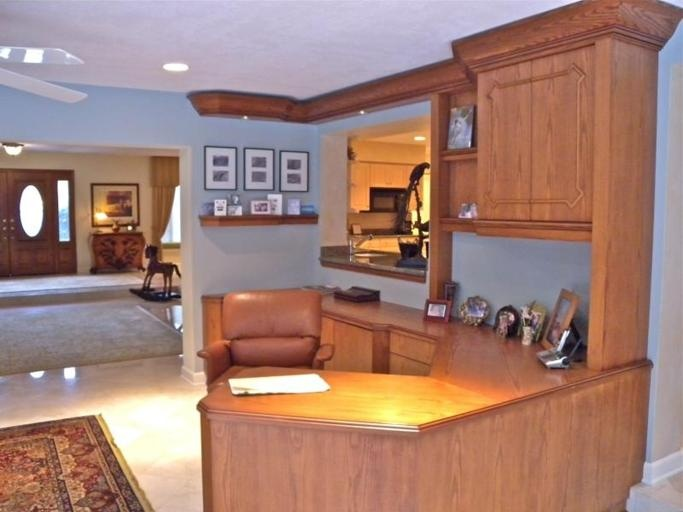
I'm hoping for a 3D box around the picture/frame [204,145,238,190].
[{"bbox_3d":[-1.222,-0.883,5.283,0.341,0.431,0.019,-6,15,-36],"label":"picture/frame"}]

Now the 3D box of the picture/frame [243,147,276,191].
[{"bbox_3d":[-0.865,-0.904,5.481,0.341,0.430,0.019,-5,14,-32],"label":"picture/frame"}]

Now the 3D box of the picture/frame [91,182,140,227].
[{"bbox_3d":[-5.153,-1.175,11.789,1.081,1.028,0.072,1,-3,-29],"label":"picture/frame"}]

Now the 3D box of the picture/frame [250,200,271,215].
[{"bbox_3d":[-0.852,-0.505,5.461,0.159,0.126,0.022,5,-18,-18],"label":"picture/frame"}]

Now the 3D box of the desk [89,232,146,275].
[{"bbox_3d":[-5.087,-0.170,11.932,1.376,1.080,0.867,-1,9,-23],"label":"desk"}]

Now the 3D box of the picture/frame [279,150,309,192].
[{"bbox_3d":[-0.509,-0.912,5.655,0.357,0.430,0.016,6,12,22],"label":"picture/frame"}]

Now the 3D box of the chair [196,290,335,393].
[{"bbox_3d":[-0.587,0.775,3.911,0.999,0.941,0.801,1,7,10],"label":"chair"}]

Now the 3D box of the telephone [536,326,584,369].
[{"bbox_3d":[1.276,0.530,3.190,0.248,0.255,0.313,-8,4,-12],"label":"telephone"}]

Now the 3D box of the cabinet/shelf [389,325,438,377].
[{"bbox_3d":[0.539,0.683,3.810,0.196,0.366,0.380,1,-1,-26],"label":"cabinet/shelf"}]
